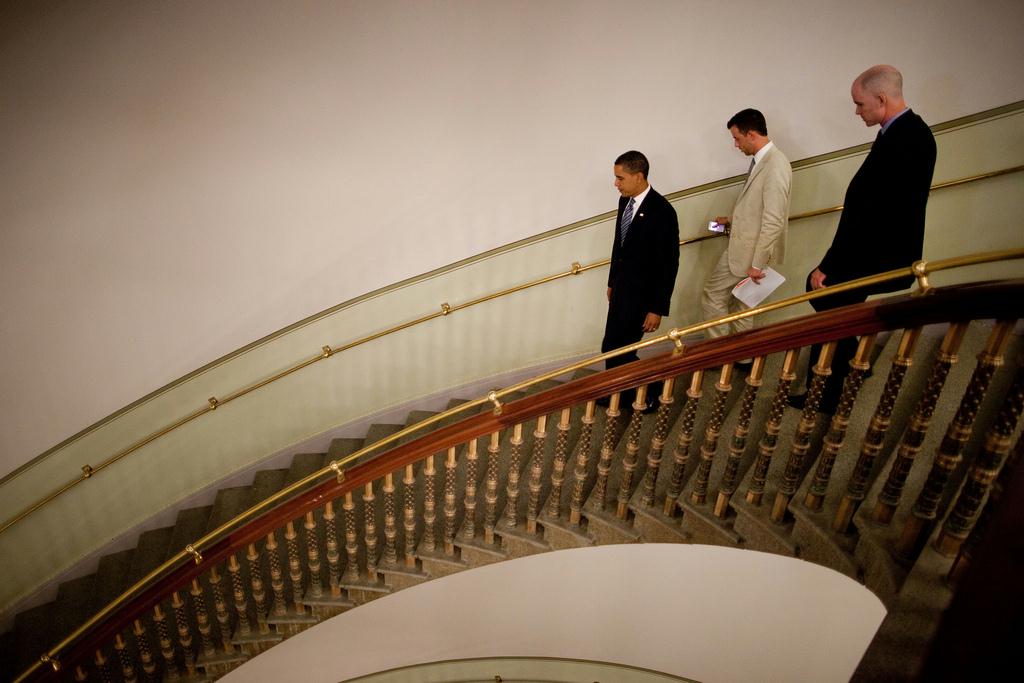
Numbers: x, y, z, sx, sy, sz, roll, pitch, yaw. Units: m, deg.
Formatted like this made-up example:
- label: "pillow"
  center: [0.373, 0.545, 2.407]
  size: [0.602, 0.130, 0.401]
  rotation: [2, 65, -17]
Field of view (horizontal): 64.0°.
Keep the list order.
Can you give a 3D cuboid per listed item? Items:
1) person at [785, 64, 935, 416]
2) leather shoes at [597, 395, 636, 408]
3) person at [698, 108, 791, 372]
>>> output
- label: "person"
  center: [2.709, -0.706, 6.371]
  size: [0.808, 2.696, 0.850]
  rotation: [19, 27, 34]
- label: "leather shoes"
  center: [0.967, 0.525, 7.155]
  size: [0.197, 0.071, 0.264]
  rotation: [-7, -3, 5]
- label: "person"
  center: [1.942, -0.794, 6.763]
  size: [0.820, 0.915, 2.624]
  rotation: [3, -52, 12]
